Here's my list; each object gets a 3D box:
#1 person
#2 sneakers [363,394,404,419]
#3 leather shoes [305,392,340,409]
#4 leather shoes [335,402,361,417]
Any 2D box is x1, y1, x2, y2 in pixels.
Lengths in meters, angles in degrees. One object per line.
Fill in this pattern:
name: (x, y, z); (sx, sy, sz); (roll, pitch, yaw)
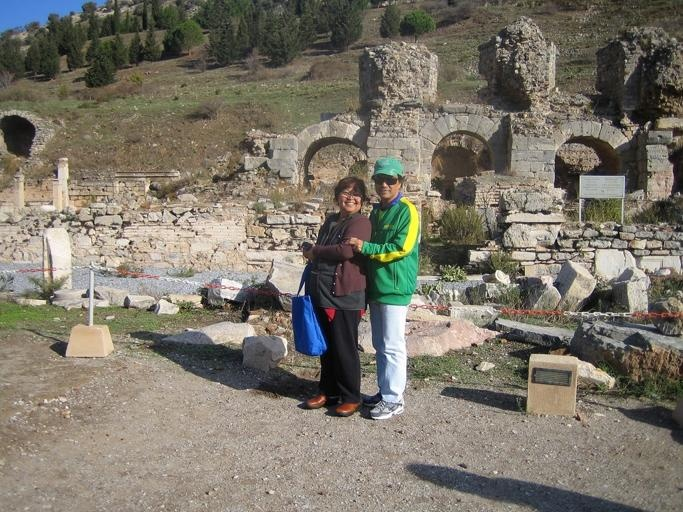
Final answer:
person: (0.618, 0.415, 10.470); (0.774, 3.365, 0.615); (0, 6, 5)
sneakers: (0.526, 1.982, 10.488); (0.587, 0.300, 0.232); (6, -5, -23)
leather shoes: (-0.252, 1.926, 10.641); (0.470, 0.200, 0.177); (3, 0, -12)
leather shoes: (0.103, 2.014, 10.457); (0.343, 0.152, 0.138); (9, -13, -42)
